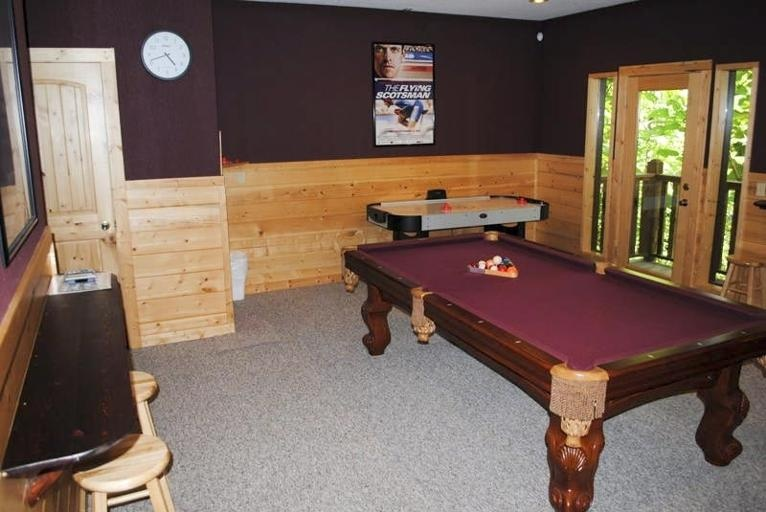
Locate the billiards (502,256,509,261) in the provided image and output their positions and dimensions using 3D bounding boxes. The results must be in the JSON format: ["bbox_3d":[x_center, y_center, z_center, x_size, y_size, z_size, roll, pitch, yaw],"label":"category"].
[{"bbox_3d":[0.961,0.028,4.205,0.060,0.022,0.064,3,15,-11],"label":"billiards"}]

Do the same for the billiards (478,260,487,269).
[{"bbox_3d":[0.739,0.069,4.026,0.055,0.044,0.116,0,15,9],"label":"billiards"}]

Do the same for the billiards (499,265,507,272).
[{"bbox_3d":[0.879,0.098,3.940,0.043,0.030,0.047,4,8,22],"label":"billiards"}]

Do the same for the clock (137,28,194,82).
[{"bbox_3d":[-1.912,-1.751,4.624,0.519,0.481,0.054,-3,20,-18],"label":"clock"}]

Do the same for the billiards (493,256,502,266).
[{"bbox_3d":[0.865,0.039,4.024,0.065,0.037,0.064,-10,11,-25],"label":"billiards"}]

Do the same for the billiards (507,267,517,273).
[{"bbox_3d":[0.948,0.105,3.942,0.048,0.024,0.046,1,7,21],"label":"billiards"}]

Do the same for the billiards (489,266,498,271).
[{"bbox_3d":[0.820,0.096,3.962,0.049,0.028,0.045,0,16,9],"label":"billiards"}]
